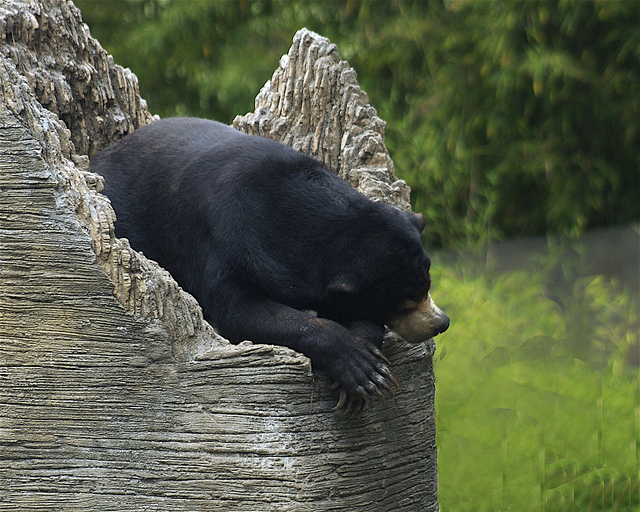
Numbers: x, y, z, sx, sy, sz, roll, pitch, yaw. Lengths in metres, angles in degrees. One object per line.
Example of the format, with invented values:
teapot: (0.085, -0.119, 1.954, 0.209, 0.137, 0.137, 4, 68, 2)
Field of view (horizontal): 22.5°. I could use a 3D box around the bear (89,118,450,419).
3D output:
bear: (-0.228, 0.059, 8.870, 2.018, 1.144, 1.196, 25, 20, 21)
